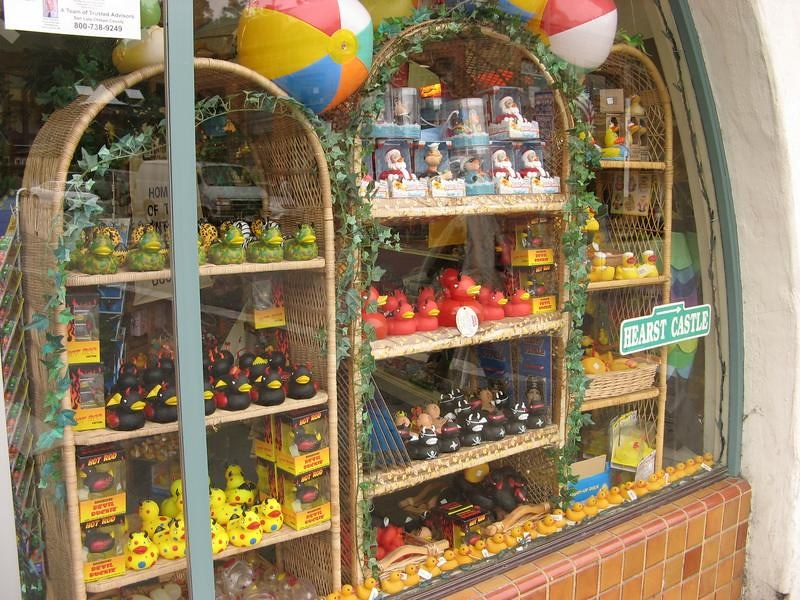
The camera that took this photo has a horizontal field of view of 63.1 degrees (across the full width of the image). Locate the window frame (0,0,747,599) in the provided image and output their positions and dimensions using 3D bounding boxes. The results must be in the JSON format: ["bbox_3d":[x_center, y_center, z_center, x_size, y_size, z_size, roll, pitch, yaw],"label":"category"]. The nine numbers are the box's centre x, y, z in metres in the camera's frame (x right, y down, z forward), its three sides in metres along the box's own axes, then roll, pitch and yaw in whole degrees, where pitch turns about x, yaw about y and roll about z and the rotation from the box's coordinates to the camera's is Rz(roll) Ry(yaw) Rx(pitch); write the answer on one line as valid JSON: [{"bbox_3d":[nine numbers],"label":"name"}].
[{"bbox_3d":[-0.116,-0.004,2.499,2.803,2.038,0.396,-6,14,-26],"label":"window frame"}]

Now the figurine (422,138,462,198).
[{"bbox_3d":[0.159,-0.528,2.683,0.120,0.212,0.223,9,15,36],"label":"figurine"}]

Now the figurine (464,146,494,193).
[{"bbox_3d":[0.320,-0.570,2.821,0.155,0.231,0.146,-2,7,19],"label":"figurine"}]

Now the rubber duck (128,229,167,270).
[{"bbox_3d":[-0.815,-0.162,2.065,0.132,0.133,0.113,10,9,37],"label":"rubber duck"}]

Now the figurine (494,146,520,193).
[{"bbox_3d":[0.454,-0.557,2.860,0.103,0.167,0.170,-8,24,-7],"label":"figurine"}]

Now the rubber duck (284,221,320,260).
[{"bbox_3d":[-0.362,-0.200,2.385,0.133,0.126,0.101,6,9,38],"label":"rubber duck"}]

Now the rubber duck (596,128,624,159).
[{"bbox_3d":[1.012,-0.759,3.227,0.165,0.181,0.164,-1,14,11],"label":"rubber duck"}]

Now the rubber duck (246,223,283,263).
[{"bbox_3d":[-0.481,-0.189,2.327,0.144,0.141,0.092,4,11,11],"label":"rubber duck"}]
